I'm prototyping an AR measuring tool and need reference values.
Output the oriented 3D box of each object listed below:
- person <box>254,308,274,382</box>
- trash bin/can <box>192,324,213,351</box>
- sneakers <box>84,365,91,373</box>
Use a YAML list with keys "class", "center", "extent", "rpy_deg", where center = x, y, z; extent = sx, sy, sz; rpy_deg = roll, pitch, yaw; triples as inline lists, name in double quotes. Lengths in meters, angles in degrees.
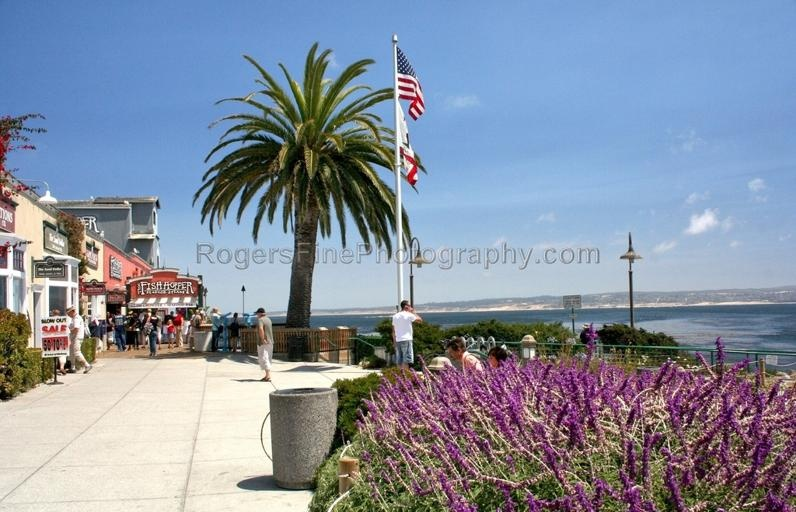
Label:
- class: "person"
  center: [-4.329, 2.849, 18.367]
  extent: [0.581, 2.254, 0.877]
  rpy_deg: [-4, -10, 3]
- class: "trash bin/can"
  center: [-9.624, 4.163, 28.564]
  extent: [1.141, 1.328, 1.146]
  rpy_deg: [3, -6, -41]
- class: "sneakers"
  center: [-10.460, 3.832, 19.042]
  extent: [0.109, 0.258, 0.095]
  rpy_deg: [34, -26, 7]
